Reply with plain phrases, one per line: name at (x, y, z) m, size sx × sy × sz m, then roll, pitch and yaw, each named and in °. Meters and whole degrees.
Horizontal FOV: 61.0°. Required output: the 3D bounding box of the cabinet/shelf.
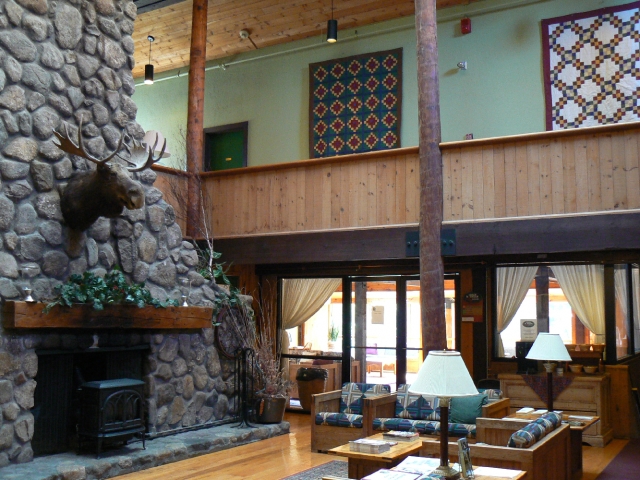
cabinet/shelf at (3.729, 2.750, 8.481) m, size 1.906 × 1.342 × 1.055 m, roll -3°, pitch -7°, yaw 25°

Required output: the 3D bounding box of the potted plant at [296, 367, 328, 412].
potted plant at (-0.196, 2.661, 9.797) m, size 0.742 × 0.923 × 0.797 m, roll 1°, pitch -6°, yaw 1°

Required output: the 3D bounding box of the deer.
deer at (-2.464, -0.691, 6.262) m, size 0.999 × 1.270 × 1.415 m, roll -1°, pitch 2°, yaw 28°

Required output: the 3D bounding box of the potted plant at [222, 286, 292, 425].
potted plant at (-0.633, 1.944, 8.338) m, size 0.725 × 1.985 × 0.844 m, roll -30°, pitch -15°, yaw 35°

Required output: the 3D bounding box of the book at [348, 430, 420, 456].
book at (0.640, 2.018, 5.413) m, size 0.251 × 0.066 × 0.475 m, roll -6°, pitch -8°, yaw 36°

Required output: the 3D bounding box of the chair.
chair at (0.488, 2.339, 7.253) m, size 0.788 × 0.925 × 0.909 m, roll -5°, pitch -14°, yaw 28°
